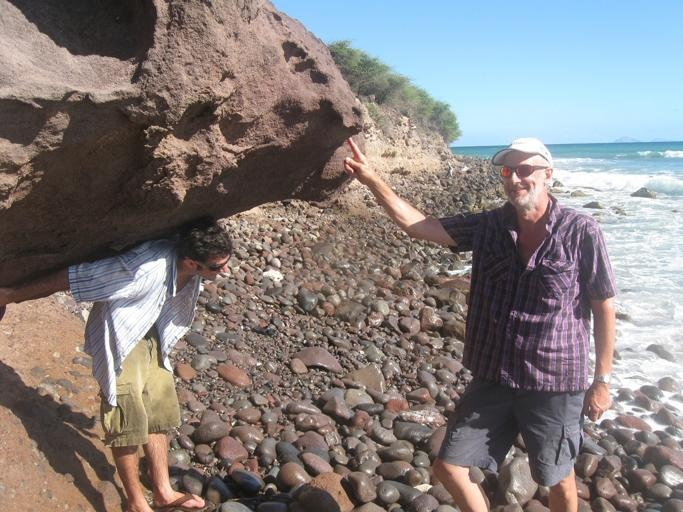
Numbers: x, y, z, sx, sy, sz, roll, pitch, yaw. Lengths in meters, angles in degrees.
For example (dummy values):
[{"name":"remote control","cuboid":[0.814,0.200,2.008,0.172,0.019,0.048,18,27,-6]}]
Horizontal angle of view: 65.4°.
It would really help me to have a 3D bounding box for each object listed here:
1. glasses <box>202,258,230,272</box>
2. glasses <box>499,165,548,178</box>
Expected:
[{"name":"glasses","cuboid":[-0.744,0.049,3.116,0.118,0.036,0.118,-7,19,-35]},{"name":"glasses","cuboid":[1.043,-0.483,3.034,0.260,0.078,0.136,6,16,16]}]
